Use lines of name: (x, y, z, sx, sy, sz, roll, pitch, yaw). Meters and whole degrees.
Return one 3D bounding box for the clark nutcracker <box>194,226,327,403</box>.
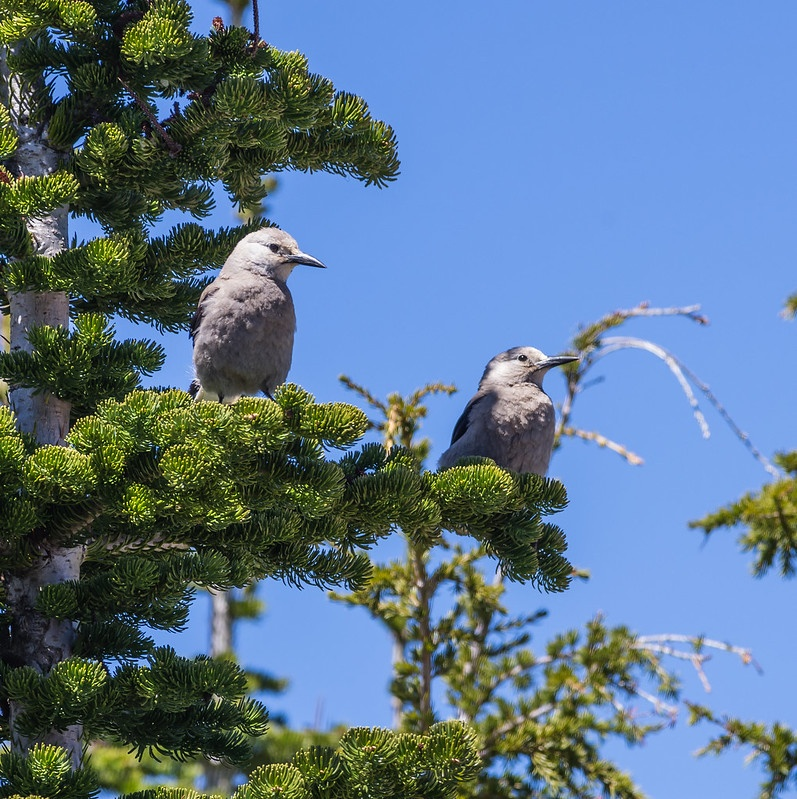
clark nutcracker: (-0.750, -0.409, 10.155, 0.439, 0.884, 0.850, 5, 2, -34)
